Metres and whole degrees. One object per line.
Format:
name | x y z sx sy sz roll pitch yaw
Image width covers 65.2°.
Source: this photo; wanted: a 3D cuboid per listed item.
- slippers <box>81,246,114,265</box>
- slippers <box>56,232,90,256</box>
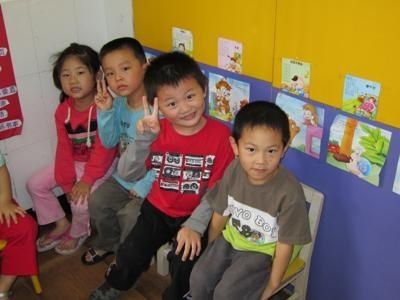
slippers | -0.643 0.649 1.935 0.160 0.044 0.083 -13 43 -20
slippers | -0.826 0.617 2.063 0.084 0.088 0.215 21 33 32
